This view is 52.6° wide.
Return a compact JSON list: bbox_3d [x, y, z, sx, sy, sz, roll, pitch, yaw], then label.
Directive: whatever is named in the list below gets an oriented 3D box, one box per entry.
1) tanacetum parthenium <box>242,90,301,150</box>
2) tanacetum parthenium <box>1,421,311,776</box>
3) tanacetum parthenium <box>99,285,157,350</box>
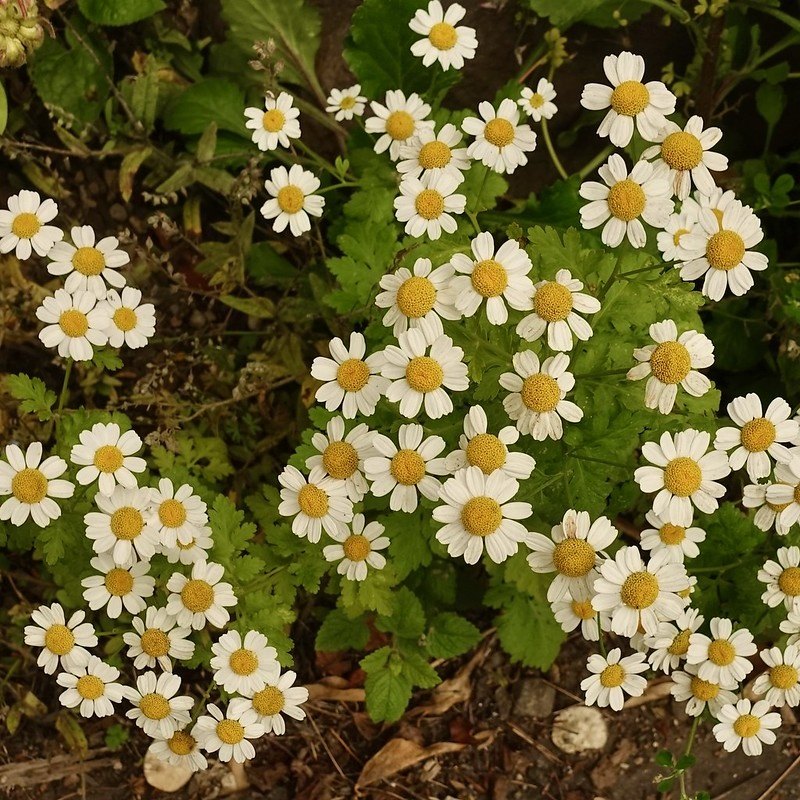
[{"bbox_3d":[-0.508,-1.128,3.200,0.273,0.266,0.058,-1,72,6],"label":"tanacetum parthenium"},{"bbox_3d":[-0.958,0.757,3.201,0.884,0.183,1.525,-40,92,-13],"label":"tanacetum parthenium"},{"bbox_3d":[-1.065,-0.341,3.131,0.224,0.240,0.071,25,54,-31],"label":"tanacetum parthenium"}]
